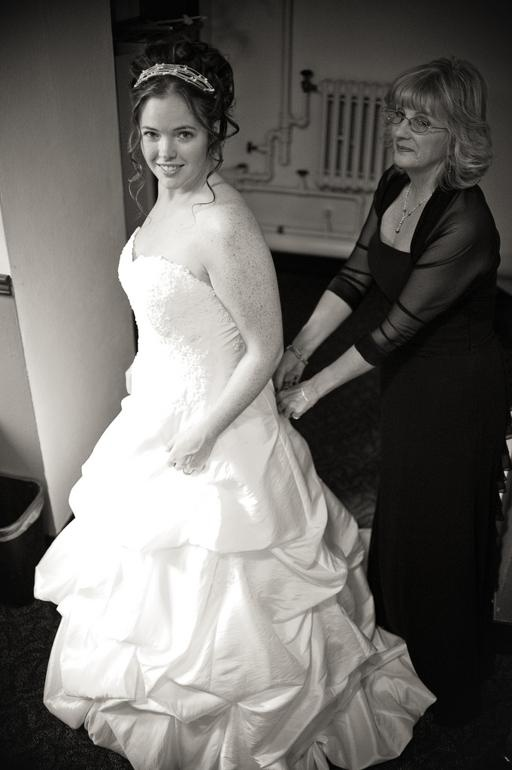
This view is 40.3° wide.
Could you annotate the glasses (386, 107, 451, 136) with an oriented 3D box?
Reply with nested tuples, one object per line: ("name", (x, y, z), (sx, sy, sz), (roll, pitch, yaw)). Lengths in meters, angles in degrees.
("glasses", (0.330, -0.556, 1.463), (0.049, 0.052, 0.145), (-14, 25, -41))
